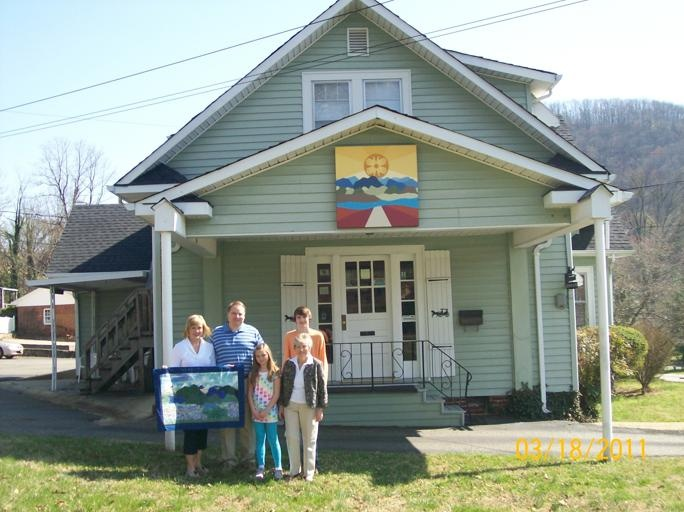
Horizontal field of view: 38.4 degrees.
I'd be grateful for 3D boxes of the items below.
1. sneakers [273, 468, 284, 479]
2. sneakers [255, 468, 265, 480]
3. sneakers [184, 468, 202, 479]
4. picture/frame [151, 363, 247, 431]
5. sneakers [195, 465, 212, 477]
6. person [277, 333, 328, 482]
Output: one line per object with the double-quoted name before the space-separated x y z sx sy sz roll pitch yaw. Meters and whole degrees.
"sneakers" -1.231 4.252 19.072 0.151 0.136 0.174 18 -34 -27
"sneakers" -1.591 4.272 19.128 0.186 0.141 0.187 0 13 -7
"sneakers" -2.884 4.262 19.123 0.324 0.130 0.248 -1 13 -11
"picture/frame" -2.768 2.780 19.305 1.341 0.951 0.023 -1 0 2
"sneakers" -2.720 4.246 19.292 0.196 0.135 0.491 2 0 4
"person" -0.773 2.950 19.169 0.929 2.778 0.757 3 13 5
